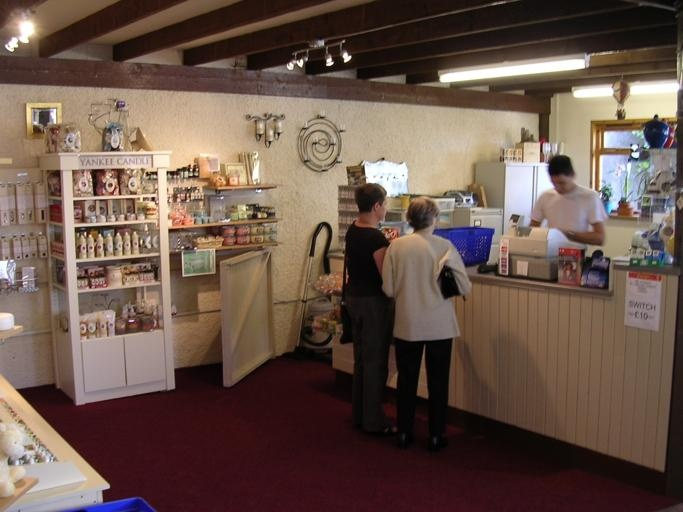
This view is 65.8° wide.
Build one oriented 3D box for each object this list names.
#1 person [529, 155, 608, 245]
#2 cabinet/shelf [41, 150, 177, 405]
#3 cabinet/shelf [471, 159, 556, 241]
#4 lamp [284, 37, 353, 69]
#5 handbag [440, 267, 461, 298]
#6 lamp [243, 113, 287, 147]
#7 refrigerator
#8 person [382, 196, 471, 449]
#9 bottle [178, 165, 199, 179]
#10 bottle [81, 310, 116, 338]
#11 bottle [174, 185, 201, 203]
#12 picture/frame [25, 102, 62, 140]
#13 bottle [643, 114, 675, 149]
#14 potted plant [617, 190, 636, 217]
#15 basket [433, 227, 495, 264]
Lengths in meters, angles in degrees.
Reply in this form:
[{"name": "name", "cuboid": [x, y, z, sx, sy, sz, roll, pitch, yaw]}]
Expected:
[{"name": "person", "cuboid": [2.265, -0.563, 5.270, 0.685, 0.874, 0.468, 2, 10, 20]}, {"name": "cabinet/shelf", "cuboid": [-2.584, 0.190, 5.966, 1.380, 2.691, 0.817, -6, 11, -25]}, {"name": "cabinet/shelf", "cuboid": [2.406, -0.810, 7.502, 1.300, 1.300, 0.637, -4, 6, -38]}, {"name": "lamp", "cuboid": [-0.257, -2.317, 6.018, 0.630, 0.285, 0.671, 11, 20, 38]}, {"name": "handbag", "cuboid": [0.878, 0.199, 4.258, 0.118, 0.224, 0.187, -20, 18, -23]}, {"name": "lamp", "cuboid": [-1.026, -1.674, 6.955, 0.465, 0.390, 0.114, -4, 3, -39]}, {"name": "refrigerator", "cuboid": [2.503, -0.872, 7.770, 1.183, 1.182, 0.579, -5, 7, -40]}, {"name": "person", "cuboid": [0.706, 0.607, 4.472, 0.707, 2.190, 0.340, -1, 9, 4]}, {"name": "bottle", "cuboid": [-1.852, -1.033, 6.443, 0.130, 0.223, 0.226, 3, 2, 42]}, {"name": "bottle", "cuboid": [-2.633, 0.752, 5.744, 0.264, 0.205, 0.039, -2, -3, -22]}, {"name": "bottle", "cuboid": [-1.870, -0.759, 6.456, 0.361, 0.199, 0.125, -4, 10, -16]}, {"name": "picture/frame", "cuboid": [-3.249, -1.482, 5.759, 0.404, 0.421, 0.030, -13, 15, -25]}, {"name": "bottle", "cuboid": [3.028, -1.196, 5.083, 0.243, 0.286, 0.646, 5, 12, 32]}, {"name": "potted plant", "cuboid": [4.347, -0.783, 8.183, 0.275, 0.389, 0.280, -2, 3, -20]}, {"name": "basket", "cuboid": [1.206, -0.133, 5.227, 0.533, 0.316, 0.355, -9, 9, -38]}]
